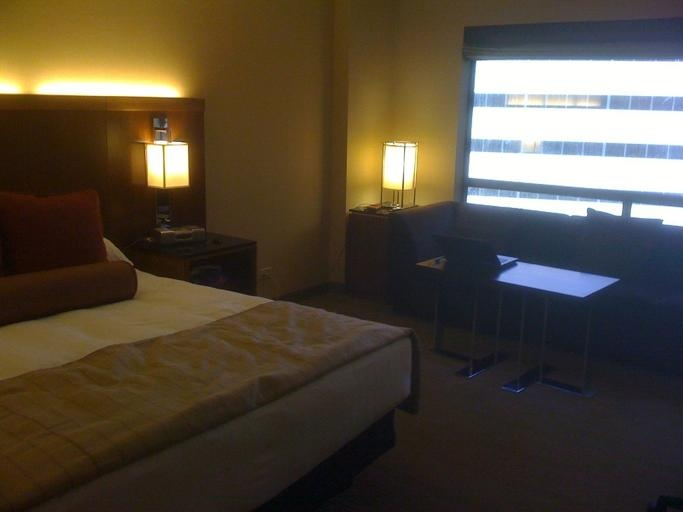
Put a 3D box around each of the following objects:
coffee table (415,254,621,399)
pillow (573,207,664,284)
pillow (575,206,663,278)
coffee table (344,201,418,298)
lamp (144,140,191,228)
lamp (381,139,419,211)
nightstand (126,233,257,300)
[{"bbox_3d":[1.235,0.412,3.718,1.153,0.705,0.885,12,18,39],"label":"coffee table"},{"bbox_3d":[2.138,-0.092,4.019,0.459,0.503,0.122,12,9,40],"label":"pillow"},{"bbox_3d":[2.149,-0.094,4.012,0.471,0.492,0.131,12,3,39],"label":"pillow"},{"bbox_3d":[0.320,-0.108,5.192,0.746,1.093,0.742,9,13,38],"label":"coffee table"},{"bbox_3d":[-1.198,-0.497,3.660,0.287,0.607,0.372,-5,15,-18],"label":"lamp"},{"bbox_3d":[0.559,-0.776,5.142,0.372,0.606,0.376,-5,17,-21],"label":"lamp"},{"bbox_3d":[-1.039,0.026,3.725,0.492,0.686,0.665,9,15,34],"label":"nightstand"}]
